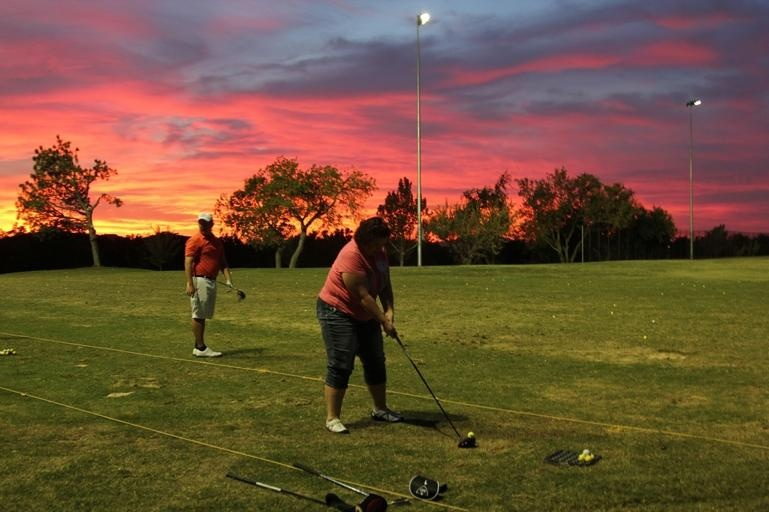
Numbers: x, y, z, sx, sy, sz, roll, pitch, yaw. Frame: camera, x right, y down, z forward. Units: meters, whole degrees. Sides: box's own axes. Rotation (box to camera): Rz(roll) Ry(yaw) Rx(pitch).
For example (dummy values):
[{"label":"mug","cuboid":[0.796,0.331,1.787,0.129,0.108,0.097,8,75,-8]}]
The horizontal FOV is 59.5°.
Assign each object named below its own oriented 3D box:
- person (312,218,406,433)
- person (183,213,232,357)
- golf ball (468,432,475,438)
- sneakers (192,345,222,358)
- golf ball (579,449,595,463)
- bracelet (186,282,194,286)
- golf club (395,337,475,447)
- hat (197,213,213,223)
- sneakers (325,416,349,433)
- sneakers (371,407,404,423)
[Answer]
[{"label":"person","cuboid":[-0.356,0.863,8.632,0.993,2.793,1.257,11,19,35]},{"label":"person","cuboid":[-3.274,0.521,12.282,0.739,2.636,1.262,0,15,-2]},{"label":"golf ball","cuboid":[1.050,2.169,8.212,0.078,0.044,0.143,7,2,-3]},{"label":"sneakers","cuboid":[-3.230,1.728,12.183,0.506,0.186,0.191,0,-3,-2]},{"label":"golf ball","cuboid":[2.299,2.280,7.687,0.141,0.060,0.136,-5,-4,0]},{"label":"bracelet","cuboid":[-3.533,0.518,12.191,0.104,0.085,0.104,-4,15,-17]},{"label":"golf club","cuboid":[0.743,2.046,10.046,0.273,1.313,0.271,-36,-8,30]},{"label":"hat","cuboid":[-3.218,-0.686,12.038,0.195,0.185,0.261,-1,14,-4]},{"label":"sneakers","cuboid":[-0.636,2.122,8.453,0.163,0.105,0.261,2,-8,-32]},{"label":"sneakers","cuboid":[0.029,2.100,8.888,0.414,0.152,0.160,-2,-5,14]}]
